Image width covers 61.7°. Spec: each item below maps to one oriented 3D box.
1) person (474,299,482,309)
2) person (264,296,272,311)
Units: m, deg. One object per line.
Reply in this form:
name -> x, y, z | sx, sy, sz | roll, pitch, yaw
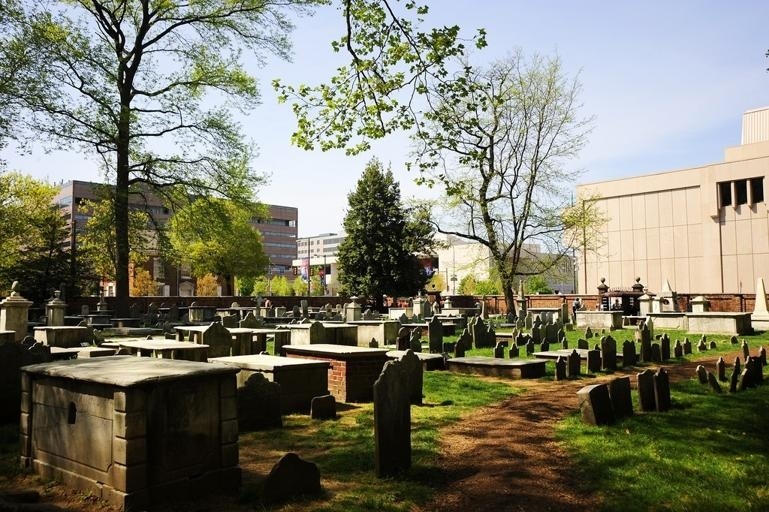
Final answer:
person -> 7.933, 4.131, 54.821 | 0.739, 0.843, 0.800 | -3, -1, -2
person -> -8.707, 3.561, 47.780 | 0.587, 1.071, 0.578 | 2, 3, 23
